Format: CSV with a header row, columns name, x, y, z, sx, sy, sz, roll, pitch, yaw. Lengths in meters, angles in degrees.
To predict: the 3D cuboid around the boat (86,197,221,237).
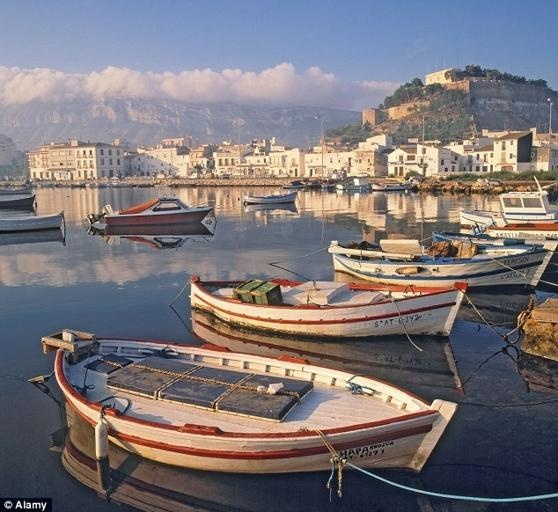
name,x,y,z,sx,sy,sz,roll,pitch,yaw
boat,-7.507,-2.397,47.913,6.738,1.743,6.335,-5,10,-17
